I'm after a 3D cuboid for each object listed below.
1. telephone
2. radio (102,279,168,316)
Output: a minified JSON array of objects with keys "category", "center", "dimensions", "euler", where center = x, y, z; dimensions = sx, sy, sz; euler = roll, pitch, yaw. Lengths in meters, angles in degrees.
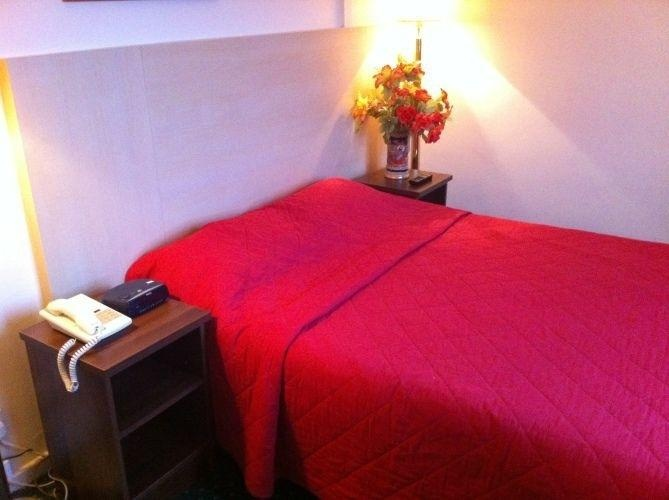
[{"category":"telephone","center":[-0.821,0.278,1.566],"dimensions":[0.236,0.214,0.278],"euler":[-17,26,-36]},{"category":"radio","center":[-0.715,0.121,1.725],"dimensions":[0.204,0.123,0.210],"euler":[15,21,30]}]
